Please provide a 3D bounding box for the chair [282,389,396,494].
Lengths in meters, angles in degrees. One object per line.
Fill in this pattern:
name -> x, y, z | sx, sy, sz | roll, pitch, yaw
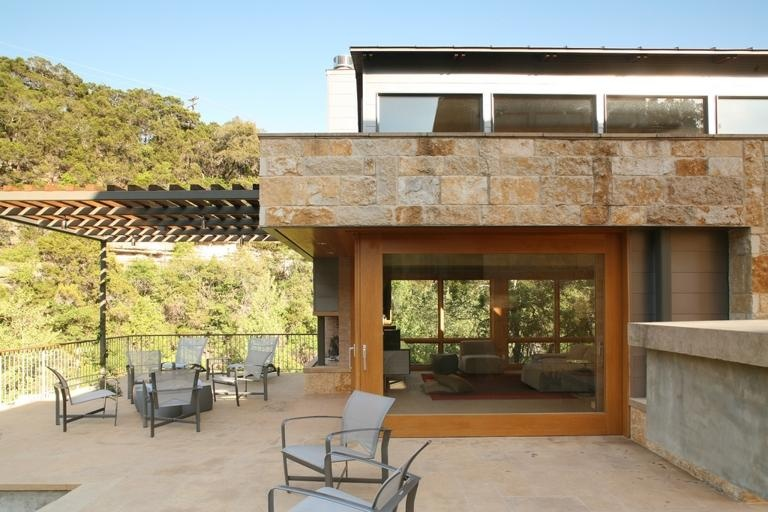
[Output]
chair -> -0.809, 3.313, 12.920 | 1.746, 1.711, 1.846 | 3, 1, -32

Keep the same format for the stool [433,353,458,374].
stool -> 1.192, 2.224, 14.624 | 0.490, 0.313, 0.438 | -1, -2, 22

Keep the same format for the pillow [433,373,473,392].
pillow -> 1.355, 2.608, 14.585 | 0.512, 0.152, 0.454 | 9, 10, -44
